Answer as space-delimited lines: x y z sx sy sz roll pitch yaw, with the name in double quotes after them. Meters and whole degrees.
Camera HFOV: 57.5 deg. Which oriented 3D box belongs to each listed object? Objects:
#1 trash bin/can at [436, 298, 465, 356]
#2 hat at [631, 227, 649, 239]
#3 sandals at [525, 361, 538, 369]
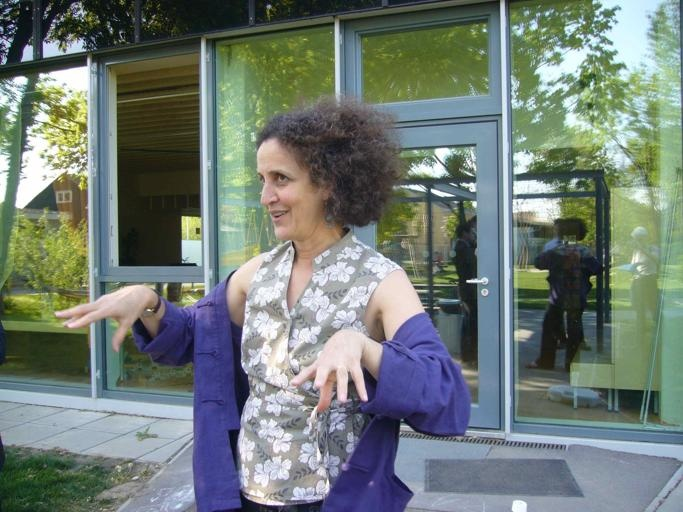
0.973 0.691 5.618 0.289 0.507 0.297 -1 -10 17 "trash bin/can"
2.495 -0.188 5.212 0.103 0.107 0.083 15 -16 -32 "hat"
1.659 0.952 5.451 0.131 0.095 0.046 1 -4 7 "sandals"
